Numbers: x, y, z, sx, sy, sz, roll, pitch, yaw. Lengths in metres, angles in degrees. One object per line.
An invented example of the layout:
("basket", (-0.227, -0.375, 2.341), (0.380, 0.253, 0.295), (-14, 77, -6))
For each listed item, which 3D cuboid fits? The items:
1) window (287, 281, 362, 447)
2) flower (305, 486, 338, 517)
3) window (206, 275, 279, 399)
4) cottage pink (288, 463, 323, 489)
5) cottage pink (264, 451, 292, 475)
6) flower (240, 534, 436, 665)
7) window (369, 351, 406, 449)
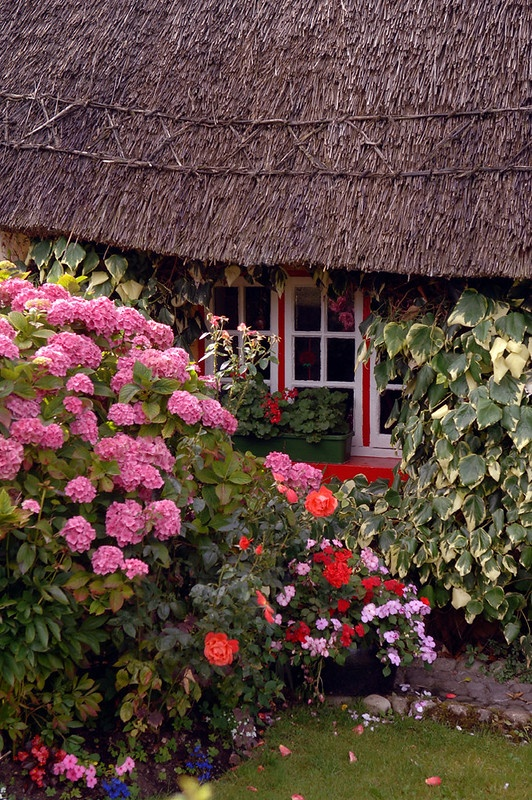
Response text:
("window", (0.372, -0.261, 5.024), (0.456, 1.002, 0.019), (2, -17, 2))
("flower", (0.196, 0.391, 2.895), (0.105, 0.111, 0.147), (4, 4, -5))
("window", (-0.157, -0.334, 5.002), (0.537, 0.946, 0.054), (4, -16, -16))
("cottage pink", (0.168, 0.312, 3.220), (0.111, 0.092, 0.111), (13, -2, -6))
("cottage pink", (0.048, 0.254, 3.162), (0.092, 0.094, 0.094), (3, 15, -7))
("flower", (0.277, 0.852, 3.109), (0.838, 0.580, 0.428), (3, 4, -16))
("window", (0.728, 0.028, 4.875), (0.276, 0.537, 0.114), (1, 3, 8))
